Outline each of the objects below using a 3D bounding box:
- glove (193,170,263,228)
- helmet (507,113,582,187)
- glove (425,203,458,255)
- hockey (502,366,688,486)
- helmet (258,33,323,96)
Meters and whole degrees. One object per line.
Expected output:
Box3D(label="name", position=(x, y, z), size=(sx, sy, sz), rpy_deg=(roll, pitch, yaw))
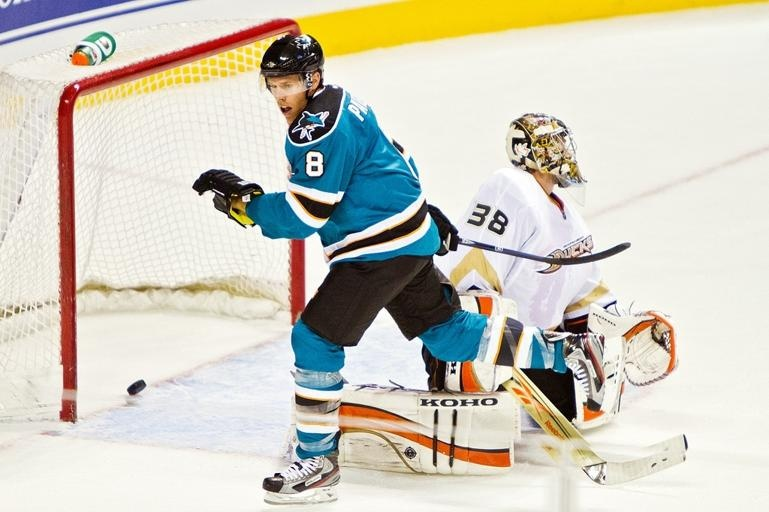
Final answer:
Box3D(label="glove", position=(-0.635, -0.257, 3.798), size=(0.335, 0.133, 0.189), rpy_deg=(30, -3, 14))
Box3D(label="helmet", position=(0.762, -0.501, 4.320), size=(0.402, 0.318, 0.284), rpy_deg=(-7, 5, 10))
Box3D(label="glove", position=(0.258, -0.113, 3.952), size=(0.177, 0.197, 0.087), rpy_deg=(2, -5, -41))
Box3D(label="hockey", position=(0.789, 0.697, 3.990), size=(0.990, 0.402, 0.324), rpy_deg=(8, 19, 30))
Box3D(label="helmet", position=(-0.358, -0.756, 3.636), size=(0.272, 0.224, 0.215), rpy_deg=(-18, 22, -34))
